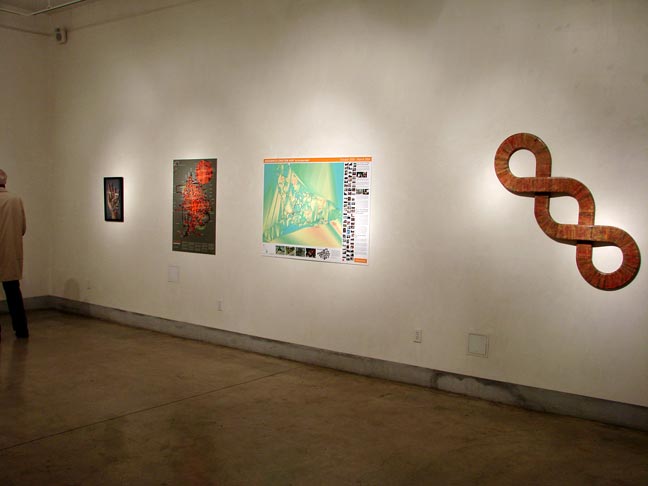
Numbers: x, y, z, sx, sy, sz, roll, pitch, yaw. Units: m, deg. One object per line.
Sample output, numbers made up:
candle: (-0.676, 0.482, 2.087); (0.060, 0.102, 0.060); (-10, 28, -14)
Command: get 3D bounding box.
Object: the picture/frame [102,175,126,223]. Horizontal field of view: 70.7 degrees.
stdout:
picture/frame: (-3.617, -0.762, 7.907); (0.744, 1.073, 0.044); (4, 8, 36)
